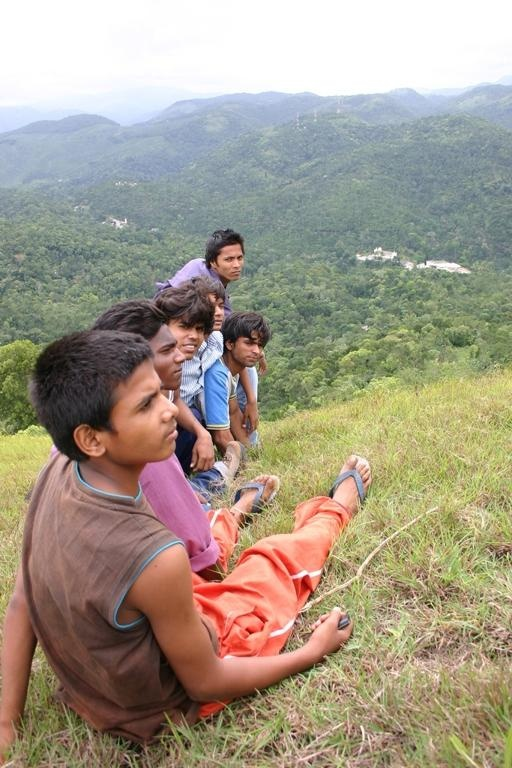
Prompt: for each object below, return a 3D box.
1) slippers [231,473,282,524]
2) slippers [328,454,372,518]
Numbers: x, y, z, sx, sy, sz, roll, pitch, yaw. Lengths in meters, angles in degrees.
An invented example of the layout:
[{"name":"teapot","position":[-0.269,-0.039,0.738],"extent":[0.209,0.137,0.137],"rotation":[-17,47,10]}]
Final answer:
[{"name":"slippers","position":[0.012,0.551,2.766],"extent":[0.123,0.086,0.351],"rotation":[16,45,36]},{"name":"slippers","position":[0.440,0.469,2.539],"extent":[0.113,0.081,0.361],"rotation":[-5,25,10]}]
